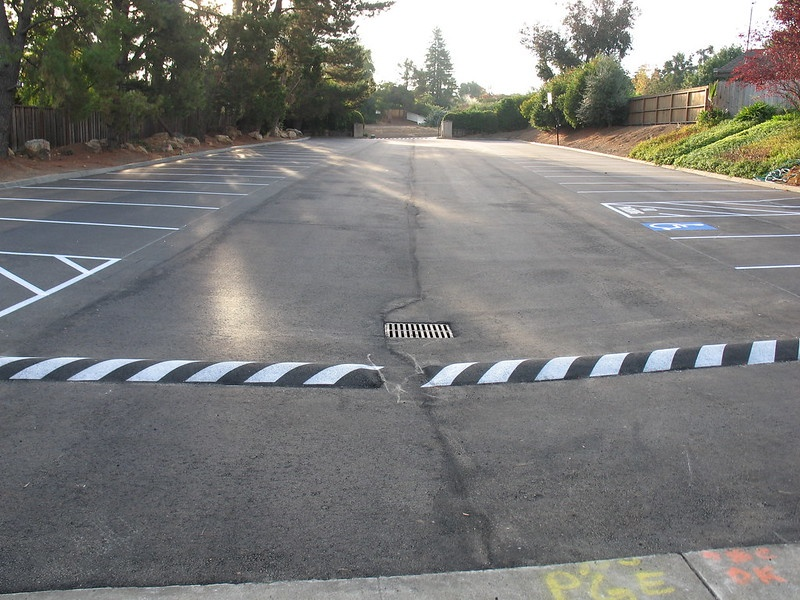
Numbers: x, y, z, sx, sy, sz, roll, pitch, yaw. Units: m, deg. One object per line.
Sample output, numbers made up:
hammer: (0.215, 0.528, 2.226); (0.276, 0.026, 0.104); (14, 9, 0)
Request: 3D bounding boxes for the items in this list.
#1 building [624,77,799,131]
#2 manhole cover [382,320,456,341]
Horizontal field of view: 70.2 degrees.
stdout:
building: (16.432, -11.084, 32.681); (0.795, 2.708, 11.147); (-3, 21, -8)
manhole cover: (0.230, 0.388, 7.078); (0.832, 0.020, 0.580); (0, 20, -1)
